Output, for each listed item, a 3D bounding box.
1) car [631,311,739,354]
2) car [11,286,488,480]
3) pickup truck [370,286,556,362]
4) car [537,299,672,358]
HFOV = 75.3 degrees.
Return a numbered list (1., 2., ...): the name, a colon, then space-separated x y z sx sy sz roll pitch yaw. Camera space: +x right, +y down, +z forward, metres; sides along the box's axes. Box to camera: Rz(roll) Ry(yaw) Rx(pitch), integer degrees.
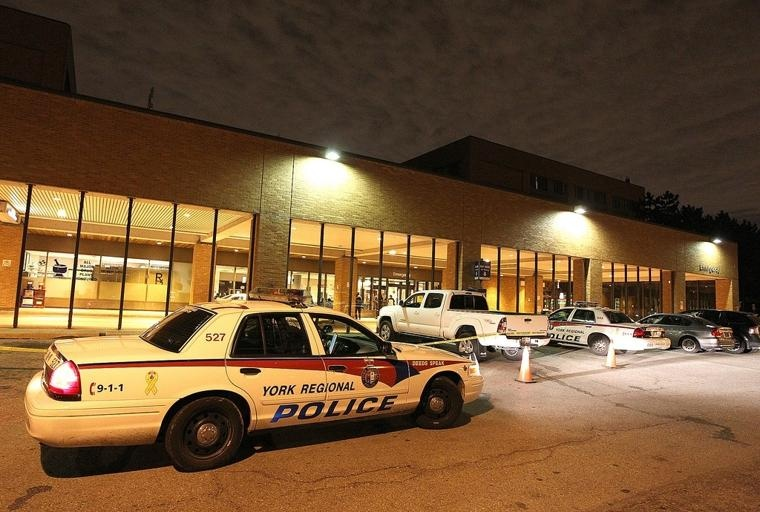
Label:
1. car: 11.660 3.073 18.628 2.020 1.190 4.160 4 -2 -33
2. car: -1.808 1.782 8.152 6.806 1.496 2.540 0 -4 -25
3. pickup truck: 2.484 2.022 16.102 2.511 1.515 5.581 8 -4 -41
4. car: 7.550 2.580 17.621 2.203 1.203 4.708 2 -1 -28
